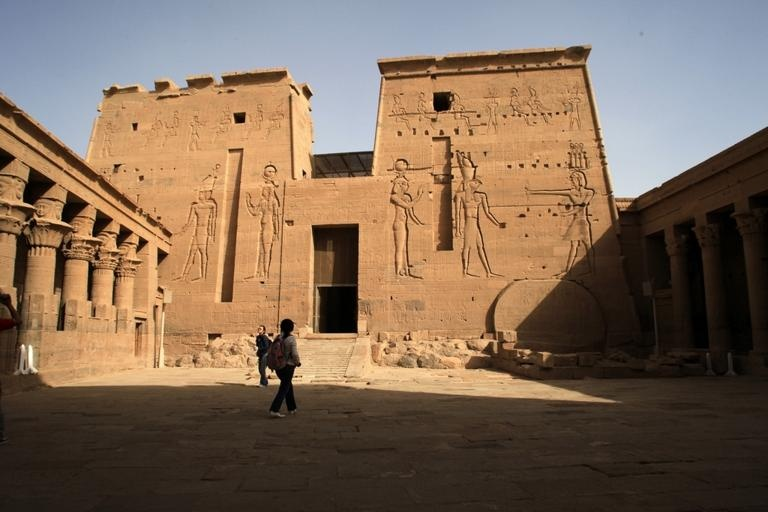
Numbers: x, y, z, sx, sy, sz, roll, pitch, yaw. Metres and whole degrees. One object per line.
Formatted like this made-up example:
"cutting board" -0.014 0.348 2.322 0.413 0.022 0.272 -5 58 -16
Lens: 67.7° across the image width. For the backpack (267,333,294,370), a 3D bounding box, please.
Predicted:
"backpack" -1.932 1.827 10.760 0.506 0.659 0.219 1 -15 4
